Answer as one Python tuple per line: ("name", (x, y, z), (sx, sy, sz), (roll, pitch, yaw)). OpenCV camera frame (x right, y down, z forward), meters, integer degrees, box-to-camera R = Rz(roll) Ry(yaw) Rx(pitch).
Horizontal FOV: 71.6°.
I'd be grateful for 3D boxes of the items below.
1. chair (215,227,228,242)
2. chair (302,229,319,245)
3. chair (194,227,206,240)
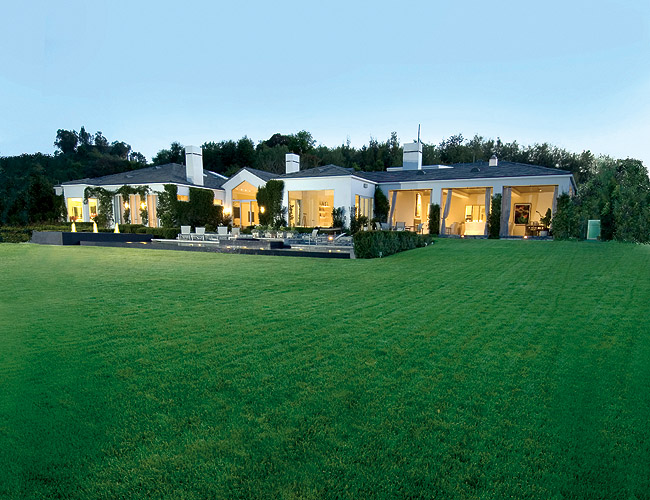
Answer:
("chair", (-4.932, -0.783, 21.809), (0.590, 0.609, 2.645), (0, 6, -14))
("chair", (-0.691, -0.671, 21.221), (0.609, 0.658, 2.751), (1, 5, -4))
("chair", (-6.452, -0.846, 23.385), (0.564, 0.985, 0.620), (0, 5, 0))
